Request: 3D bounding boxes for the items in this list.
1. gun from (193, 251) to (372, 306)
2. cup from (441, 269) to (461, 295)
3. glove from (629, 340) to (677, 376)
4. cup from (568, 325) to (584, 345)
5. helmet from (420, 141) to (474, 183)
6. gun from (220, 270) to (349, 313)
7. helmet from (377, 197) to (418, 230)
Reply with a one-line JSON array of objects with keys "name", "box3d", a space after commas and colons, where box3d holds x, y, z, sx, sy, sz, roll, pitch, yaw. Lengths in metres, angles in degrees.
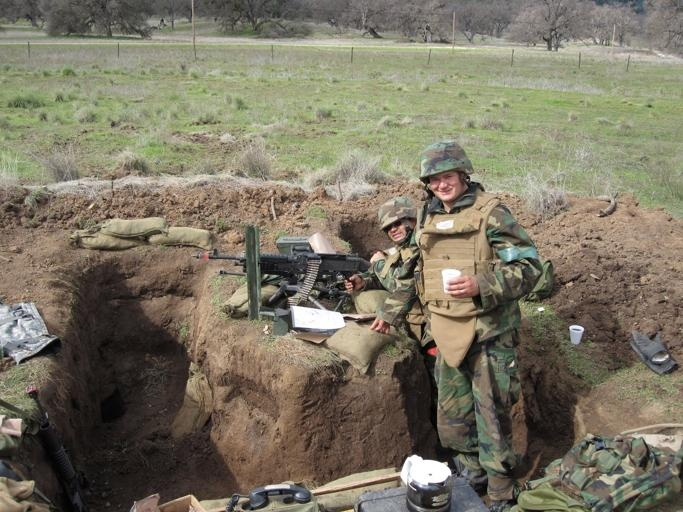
[{"name": "gun", "box3d": [-0.859, 0.278, 9.422, 2.370, 0.911, 0.789, 2, 25, -7]}, {"name": "cup", "box3d": [1.260, 0.271, 7.663, 0.246, 0.276, 0.258, 2, 25, -1]}, {"name": "glove", "box3d": [4.208, 1.299, 8.894, 0.326, 0.349, 0.653, -8, 23, -18]}, {"name": "cup", "box3d": [3.358, 1.121, 9.397, 0.224, 0.214, 0.218, 1, 14, 0]}, {"name": "helmet", "box3d": [1.276, -1.181, 7.884, 0.410, 0.444, 0.549, -14, -12, 41]}, {"name": "gun", "box3d": [-0.796, 0.566, 9.489, 1.168, 0.403, 0.867, 6, 27, -5]}, {"name": "helmet", "box3d": [0.779, -0.676, 8.987, 0.386, 0.336, 0.567, -19, 16, 27]}]
